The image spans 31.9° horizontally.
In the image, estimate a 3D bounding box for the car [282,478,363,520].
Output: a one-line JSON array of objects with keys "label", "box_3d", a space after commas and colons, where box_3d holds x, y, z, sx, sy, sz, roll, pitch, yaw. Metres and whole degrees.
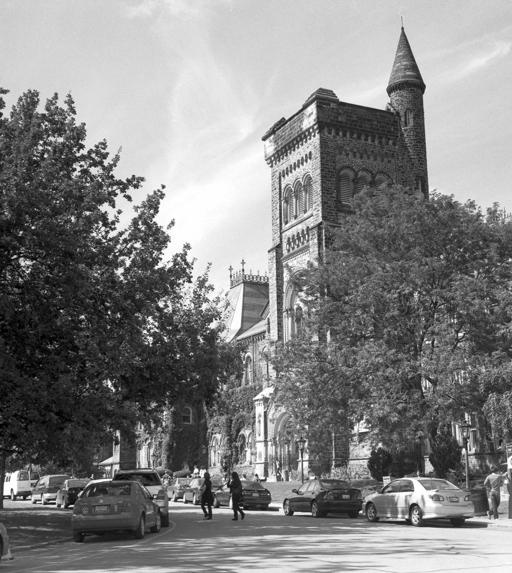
[{"label": "car", "box_3d": [2.113, 6.802, 28.988, 1.189, 1.036, 2.760, 7, -14, -22]}]

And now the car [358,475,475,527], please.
[{"label": "car", "box_3d": [4.394, 5.769, 24.372, 1.268, 1.102, 2.879, 8, -16, -24]}]
